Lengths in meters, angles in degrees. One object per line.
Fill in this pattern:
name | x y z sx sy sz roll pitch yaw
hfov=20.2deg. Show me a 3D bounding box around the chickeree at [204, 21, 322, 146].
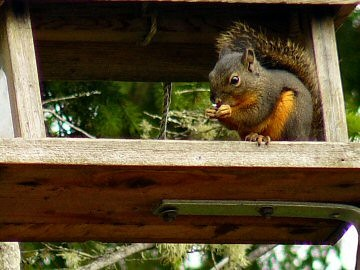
chickeree | 0.488 -0.269 5.905 0.472 0.870 0.850 1 8 35
